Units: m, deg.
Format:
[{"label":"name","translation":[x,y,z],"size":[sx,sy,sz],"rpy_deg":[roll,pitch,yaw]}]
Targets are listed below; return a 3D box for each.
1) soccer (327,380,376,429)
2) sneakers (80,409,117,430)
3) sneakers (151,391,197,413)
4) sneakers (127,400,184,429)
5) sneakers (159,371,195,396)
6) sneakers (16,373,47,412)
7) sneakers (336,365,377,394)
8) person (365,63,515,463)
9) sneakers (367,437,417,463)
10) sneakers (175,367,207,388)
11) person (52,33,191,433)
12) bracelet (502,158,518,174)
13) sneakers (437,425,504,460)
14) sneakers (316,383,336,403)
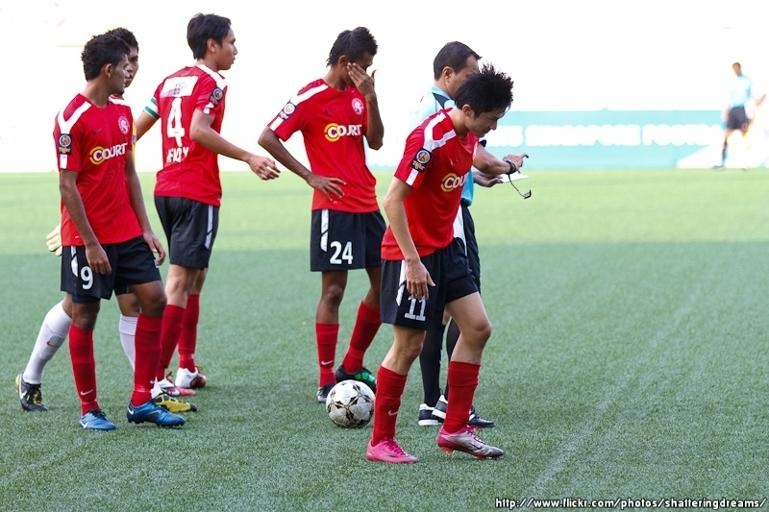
[{"label":"soccer","translation":[-0.246,1.098,6.261],"size":[0.322,0.335,0.318],"rpy_deg":[1,0,3]},{"label":"sneakers","translation":[-2.086,1.179,6.183],"size":[0.244,0.104,0.128],"rpy_deg":[2,1,37]},{"label":"sneakers","translation":[-1.601,1.148,6.595],"size":[0.381,0.168,0.129],"rpy_deg":[15,4,-14]},{"label":"sneakers","translation":[-1.687,1.180,6.320],"size":[0.478,0.214,0.177],"rpy_deg":[5,3,-4]},{"label":"sneakers","translation":[-1.708,1.047,6.843],"size":[0.364,0.178,0.126],"rpy_deg":[4,3,-16]},{"label":"sneakers","translation":[-2.717,1.105,6.567],"size":[0.161,0.203,0.437],"rpy_deg":[8,6,-31]},{"label":"sneakers","translation":[-0.220,1.003,6.982],"size":[0.418,0.200,0.154],"rpy_deg":[9,9,-9]},{"label":"person","translation":[0.566,0.094,5.850],"size":[1.367,2.657,0.954],"rpy_deg":[-1,4,-30]},{"label":"sneakers","translation":[0.050,1.314,5.727],"size":[0.313,0.143,0.149],"rpy_deg":[2,-3,6]},{"label":"sneakers","translation":[-1.603,1.025,7.084],"size":[0.113,0.149,0.316],"rpy_deg":[18,7,43]},{"label":"person","translation":[-1.988,-0.168,6.147],"size":[0.733,2.844,0.644],"rpy_deg":[-5,12,-19]},{"label":"bracelet","translation":[0.950,-0.665,6.331],"size":[0.084,0.113,0.049],"rpy_deg":[-4,-6,-36]},{"label":"sneakers","translation":[0.569,1.272,5.820],"size":[0.497,0.245,0.184],"rpy_deg":[6,-5,1]},{"label":"sneakers","translation":[-0.447,1.065,6.572],"size":[0.114,0.149,0.325],"rpy_deg":[0,-10,-6]}]
